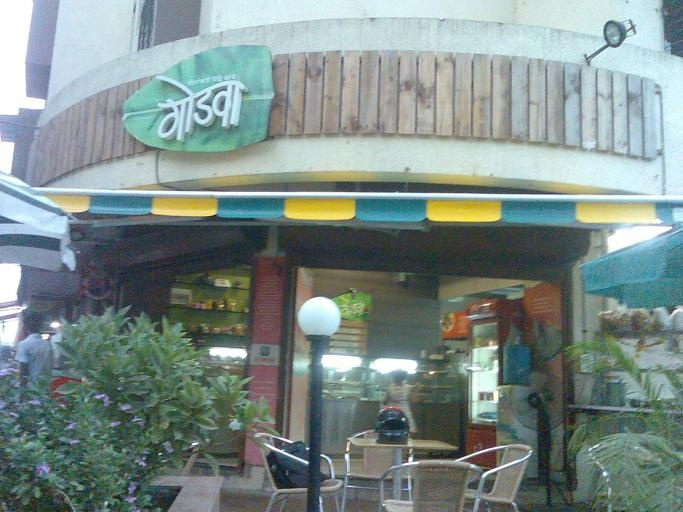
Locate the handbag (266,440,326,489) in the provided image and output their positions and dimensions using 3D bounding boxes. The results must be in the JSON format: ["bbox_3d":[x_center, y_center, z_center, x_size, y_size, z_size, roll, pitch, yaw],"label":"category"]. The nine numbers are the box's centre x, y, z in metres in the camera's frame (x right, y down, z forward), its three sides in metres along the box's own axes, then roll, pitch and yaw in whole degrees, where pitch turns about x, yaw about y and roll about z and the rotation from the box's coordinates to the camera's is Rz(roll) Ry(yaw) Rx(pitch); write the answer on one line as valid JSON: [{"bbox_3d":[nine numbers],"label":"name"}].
[{"bbox_3d":[-0.567,2.123,8.099,0.418,0.461,0.170,-15,-6,-26],"label":"handbag"}]

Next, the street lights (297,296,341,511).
[{"bbox_3d":[-0.196,1.294,7.164,0.357,1.936,0.469,0,-13,-3],"label":"street lights"}]

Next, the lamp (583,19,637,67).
[{"bbox_3d":[3.085,-2.462,9.301,0.428,0.476,0.331,1,-12,-8],"label":"lamp"}]

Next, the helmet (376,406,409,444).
[{"bbox_3d":[0.537,1.812,8.592,0.461,0.333,0.407,3,0,-12],"label":"helmet"}]
